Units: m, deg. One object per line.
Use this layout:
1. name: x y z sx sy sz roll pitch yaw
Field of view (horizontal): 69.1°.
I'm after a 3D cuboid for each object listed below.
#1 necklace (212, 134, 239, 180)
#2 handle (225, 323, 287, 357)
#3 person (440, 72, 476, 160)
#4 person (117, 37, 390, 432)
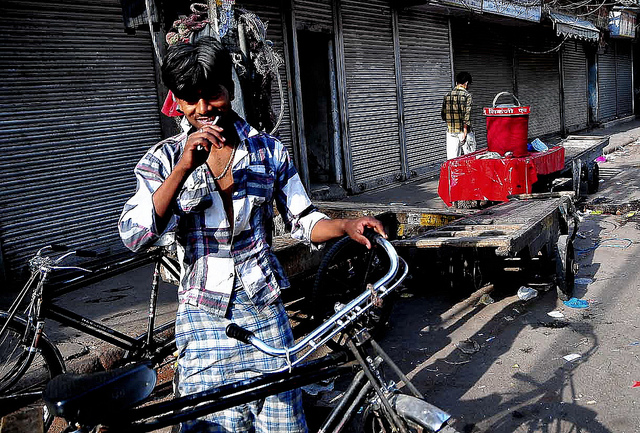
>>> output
1. necklace: -0.461 -0.295 2.307 0.114 0.201 0.034 20 -10 1
2. handle: -0.266 0.557 2.033 0.252 0.204 0.102 -7 10 -16
3. person: 2.793 -2.035 9.359 0.616 1.662 0.715 -3 10 8
4. person: -0.422 -0.012 2.296 1.032 1.714 0.462 -9 11 -25
